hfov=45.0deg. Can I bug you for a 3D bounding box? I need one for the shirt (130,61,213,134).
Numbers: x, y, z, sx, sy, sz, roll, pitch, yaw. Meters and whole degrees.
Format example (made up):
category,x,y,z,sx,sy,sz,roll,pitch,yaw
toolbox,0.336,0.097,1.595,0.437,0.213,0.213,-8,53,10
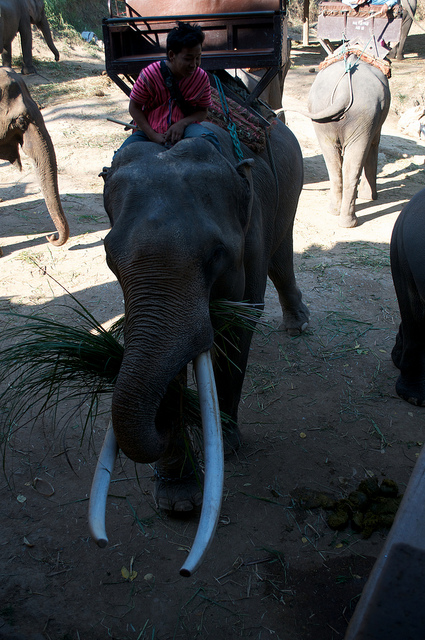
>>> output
category,x,y,z,sx,sy,sz,roll,pitch,yaw
shirt,-0.125,-0.667,1.544,0.263,0.191,0.141,-11,36,-24
